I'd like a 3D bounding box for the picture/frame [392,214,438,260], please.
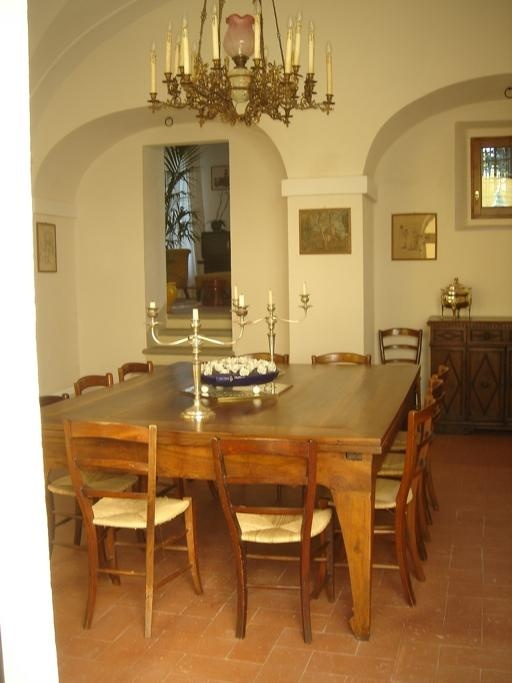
[{"bbox_3d":[1.770,-1.178,6.190,0.434,0.537,0.036,0,1,13],"label":"picture/frame"}]
